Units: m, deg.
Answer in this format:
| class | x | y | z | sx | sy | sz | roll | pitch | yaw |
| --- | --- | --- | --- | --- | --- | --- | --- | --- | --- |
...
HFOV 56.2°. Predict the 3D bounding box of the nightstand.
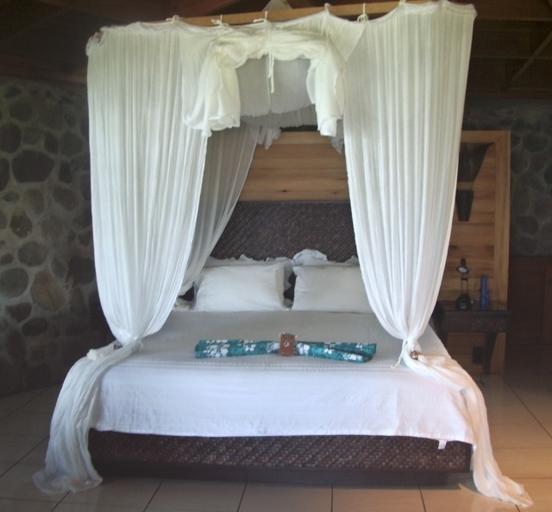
| class | x | y | z | sx | sy | sz | roll | pitch | yaw |
| --- | --- | --- | --- | --- | --- | --- | --- | --- | --- |
| nightstand | 1.534 | 0.667 | 4.235 | 0.506 | 0.601 | 0.469 | 1 | 10 | 3 |
